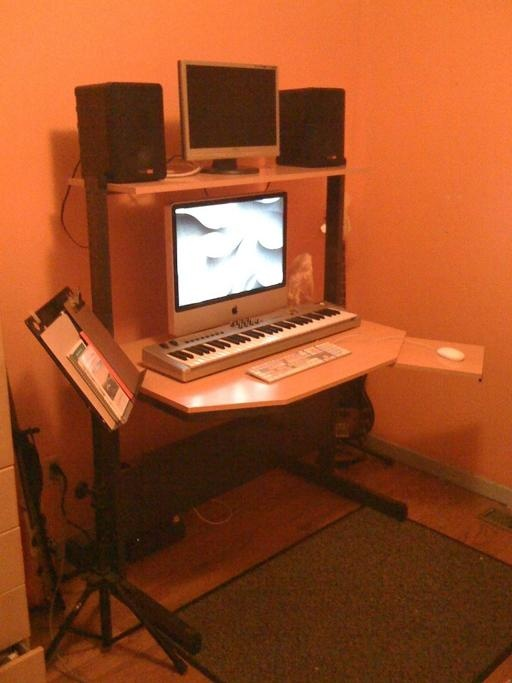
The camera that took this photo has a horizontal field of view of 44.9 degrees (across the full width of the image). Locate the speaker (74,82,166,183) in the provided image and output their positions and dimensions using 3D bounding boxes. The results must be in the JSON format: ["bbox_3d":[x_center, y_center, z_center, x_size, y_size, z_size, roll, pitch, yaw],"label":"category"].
[{"bbox_3d":[-0.337,-0.522,1.557,0.211,0.234,0.142,-3,19,-11],"label":"speaker"}]

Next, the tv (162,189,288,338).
[{"bbox_3d":[-0.096,-0.237,1.907,0.043,0.342,0.436,20,30,40],"label":"tv"}]

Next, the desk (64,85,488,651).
[{"bbox_3d":[0.109,-0.014,1.902,1.169,1.480,0.794,-13,22,-35],"label":"desk"}]

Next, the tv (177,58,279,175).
[{"bbox_3d":[-0.085,-0.664,1.823,0.375,0.268,0.120,-22,33,-39],"label":"tv"}]

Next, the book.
[{"bbox_3d":[-0.336,0.093,1.361,0.041,0.166,0.175,-27,47,7],"label":"book"}]

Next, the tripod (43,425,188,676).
[{"bbox_3d":[-0.369,0.543,1.660,0.376,0.601,0.340,-1,19,-4],"label":"tripod"}]
